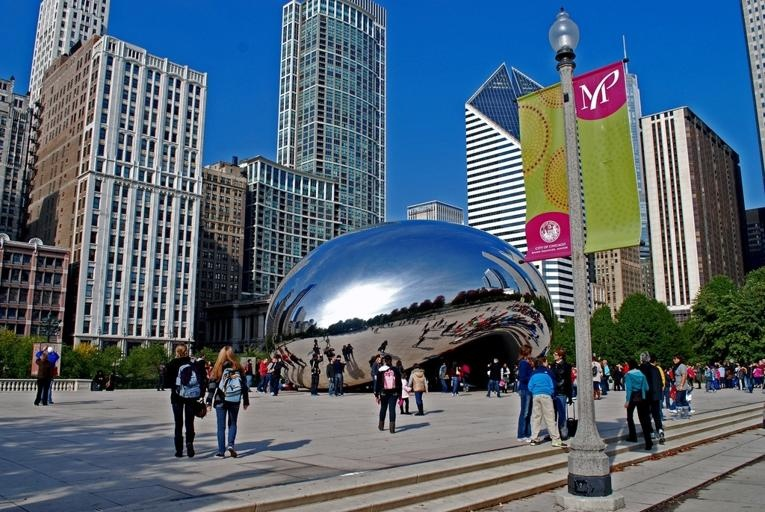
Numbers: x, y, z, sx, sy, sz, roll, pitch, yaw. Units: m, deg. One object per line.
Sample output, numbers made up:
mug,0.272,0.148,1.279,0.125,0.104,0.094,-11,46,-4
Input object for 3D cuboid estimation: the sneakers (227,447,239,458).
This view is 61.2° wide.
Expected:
sneakers,-3.881,5.111,16.669,0.151,0.133,0.337,-14,-45,-4

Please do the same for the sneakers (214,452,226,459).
sneakers,-4.215,5.214,16.754,0.116,0.112,0.270,8,-9,-36

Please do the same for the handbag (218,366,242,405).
handbag,-3.904,3.396,16.747,0.859,0.824,0.617,-8,-13,39
